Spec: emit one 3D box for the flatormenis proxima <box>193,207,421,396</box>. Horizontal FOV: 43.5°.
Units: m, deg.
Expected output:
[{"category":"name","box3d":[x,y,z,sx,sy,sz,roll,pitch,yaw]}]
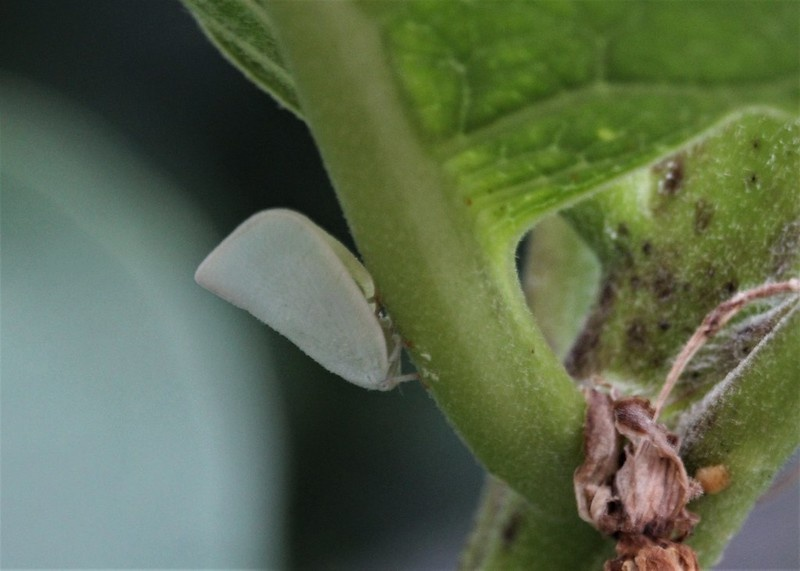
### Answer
[{"category":"flatormenis proxima","box3d":[-0.095,-0.007,1.192,0.262,0.080,0.160,35,-72,-3]}]
